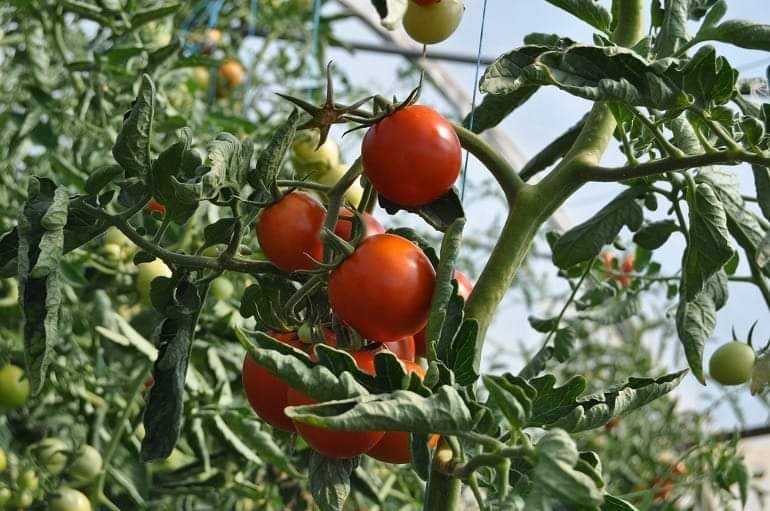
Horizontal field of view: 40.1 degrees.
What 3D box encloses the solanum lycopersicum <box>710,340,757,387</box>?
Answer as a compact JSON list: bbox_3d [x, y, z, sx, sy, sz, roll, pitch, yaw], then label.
[{"bbox_3d":[0.522,0.164,1.598,0.061,0.062,0.064,13,-34,-5],"label":"solanum lycopersicum"}]
